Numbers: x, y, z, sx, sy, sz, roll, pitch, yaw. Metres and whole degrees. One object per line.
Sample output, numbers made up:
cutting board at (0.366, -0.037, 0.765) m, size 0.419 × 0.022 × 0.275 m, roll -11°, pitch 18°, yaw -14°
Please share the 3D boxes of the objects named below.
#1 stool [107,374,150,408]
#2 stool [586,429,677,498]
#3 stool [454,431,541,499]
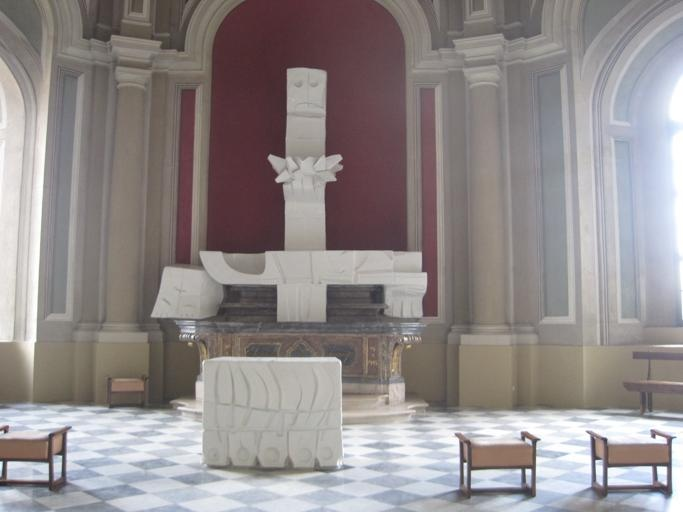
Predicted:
stool at (-3.402, 2.081, 10.106) m, size 0.536 × 0.418 × 0.550 m, roll 0°, pitch -3°, yaw -16°
stool at (2.649, 1.836, 5.889) m, size 0.641 × 0.549 × 0.552 m, roll -1°, pitch -11°, yaw 5°
stool at (1.420, 1.822, 5.855) m, size 0.644 × 0.495 × 0.535 m, roll 0°, pitch -7°, yaw -1°
